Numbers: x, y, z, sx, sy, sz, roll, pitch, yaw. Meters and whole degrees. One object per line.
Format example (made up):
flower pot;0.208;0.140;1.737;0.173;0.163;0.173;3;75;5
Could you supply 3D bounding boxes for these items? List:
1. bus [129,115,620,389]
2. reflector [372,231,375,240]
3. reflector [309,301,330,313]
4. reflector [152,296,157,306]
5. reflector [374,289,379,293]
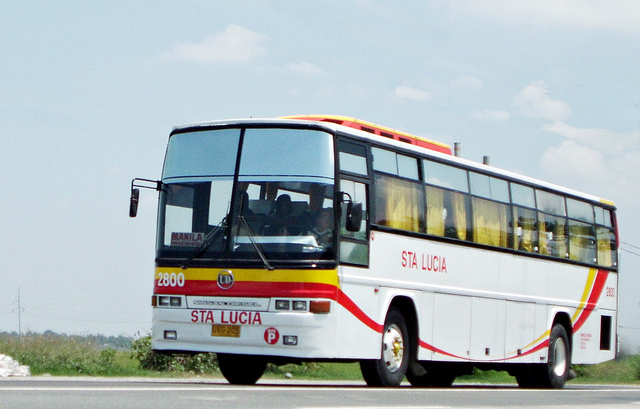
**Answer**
bus;2.863;1.641;24.710;4.365;5.862;15.991;-1;-8;39
reflector;1.138;0.646;19.533;0.026;0.172;0.062;-10;-15;36
reflector;0.009;2.042;18.531;0.250;0.183;0.256;1;-5;-7
reflector;-3.455;2.022;19.403;0.136;0.202;0.027;-13;-17;43
reflector;1.196;1.809;19.474;0.079;0.082;0.019;3;7;-11
